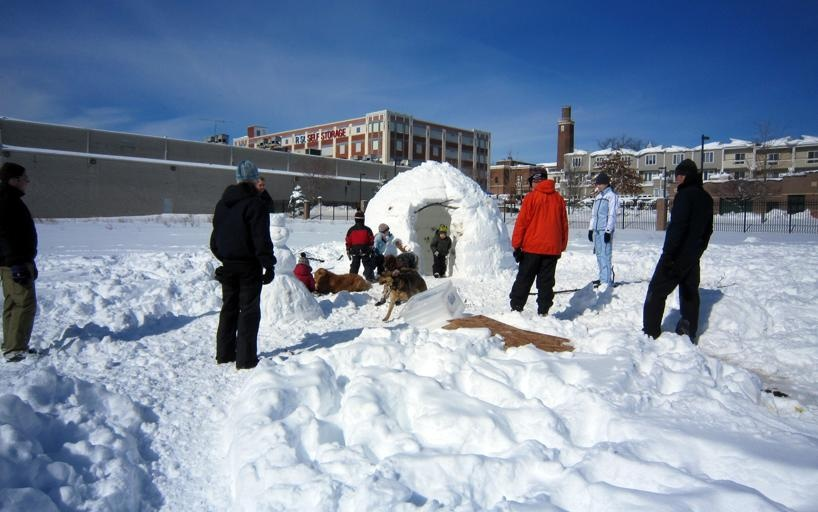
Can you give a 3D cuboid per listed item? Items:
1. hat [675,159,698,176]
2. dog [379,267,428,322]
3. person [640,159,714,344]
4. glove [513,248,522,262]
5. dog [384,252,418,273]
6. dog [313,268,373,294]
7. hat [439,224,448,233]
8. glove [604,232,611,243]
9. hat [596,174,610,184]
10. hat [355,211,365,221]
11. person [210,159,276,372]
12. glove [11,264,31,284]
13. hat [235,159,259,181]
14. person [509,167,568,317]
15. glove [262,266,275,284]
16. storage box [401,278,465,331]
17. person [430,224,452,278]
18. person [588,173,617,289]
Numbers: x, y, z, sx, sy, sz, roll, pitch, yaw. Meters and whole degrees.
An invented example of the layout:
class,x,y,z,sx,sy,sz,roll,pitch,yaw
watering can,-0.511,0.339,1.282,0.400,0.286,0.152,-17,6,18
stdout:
class,x,y,z,sx,sy,sz,roll,pitch,yaw
hat,3.724,-1.167,8.040,0.272,0.250,0.271,-1,4,-15
dog,-0.032,0.569,10.363,0.491,0.828,1.629,2,4,31
person,3.573,-0.062,7.989,0.928,2.404,0.485,-6,10,-43
glove,1.654,0.003,9.142,0.134,0.172,0.066,-1,-15,42
dog,-0.144,0.110,11.534,0.259,0.514,1.051,-4,0,29
dog,-1.223,0.484,11.274,1.126,0.492,0.403,2,-3,-8
hat,0.801,-0.622,14.169,0.167,0.092,0.208,9,48,-1
glove,3.512,-0.313,10.630,0.155,0.163,0.154,-1,11,-7
hat,3.582,-1.407,11.118,0.246,0.225,0.220,0,6,15
hat,-1.059,-0.864,12.757,0.190,0.209,0.188,-4,26,-31
person,-2.008,0.102,7.296,0.839,2.466,0.496,7,9,38
glove,-4.627,0.217,7.175,0.176,0.219,0.226,-7,-12,-10
hat,-1.998,-1.070,7.430,0.198,0.160,0.294,1,28,-7
person,1.965,-0.174,9.138,0.781,2.258,1.085,4,8,18
glove,-1.694,0.232,7.220,0.071,0.195,0.197,8,-1,-17
storage box,0.318,0.738,8.274,0.678,0.417,0.676,-22,3,8
person,0.744,-0.125,14.145,0.486,1.136,0.749,1,7,1
person,3.539,-0.498,10.946,0.449,1.978,1.187,3,8,17
